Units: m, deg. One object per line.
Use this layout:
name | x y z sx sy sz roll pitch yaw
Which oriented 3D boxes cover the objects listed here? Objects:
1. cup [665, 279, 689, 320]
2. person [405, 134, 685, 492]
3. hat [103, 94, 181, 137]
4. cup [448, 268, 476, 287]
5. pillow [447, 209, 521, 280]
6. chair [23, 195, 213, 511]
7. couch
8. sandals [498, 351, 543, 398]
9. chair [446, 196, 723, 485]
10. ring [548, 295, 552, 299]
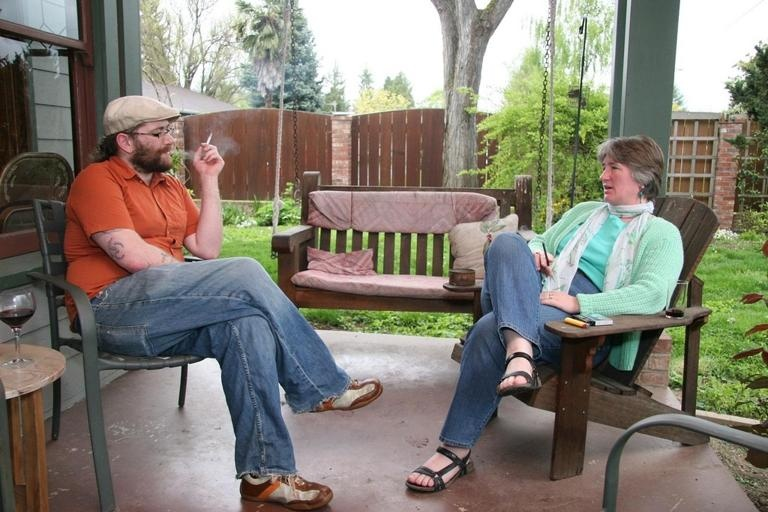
cup | 1.476 0.223 3.072 0.137 0.216 0.141 -4 6 0
person | 0.858 0.222 3.152 1.416 1.811 1.009 3 2 -35
hat | -1.250 -0.763 3.179 0.411 0.172 0.292 -5 17 9
cup | 0.475 0.131 3.634 0.120 0.067 0.119 -2 1 0
pillow | 0.611 -0.085 4.263 0.460 0.462 0.176 4 -12 5
chair | -1.394 0.408 3.051 0.613 1.371 1.007 -9 13 -40
couch | 0.091 0.057 4.244 1.668 0.958 0.755 3 16 20
sandals | 0.642 0.558 2.842 0.166 0.247 0.331 4 11 22
chair | 1.084 0.372 3.363 1.425 1.247 1.111 -6 11 -35
ring | 0.821 0.207 3.018 0.020 0.019 0.005 0 -19 22
